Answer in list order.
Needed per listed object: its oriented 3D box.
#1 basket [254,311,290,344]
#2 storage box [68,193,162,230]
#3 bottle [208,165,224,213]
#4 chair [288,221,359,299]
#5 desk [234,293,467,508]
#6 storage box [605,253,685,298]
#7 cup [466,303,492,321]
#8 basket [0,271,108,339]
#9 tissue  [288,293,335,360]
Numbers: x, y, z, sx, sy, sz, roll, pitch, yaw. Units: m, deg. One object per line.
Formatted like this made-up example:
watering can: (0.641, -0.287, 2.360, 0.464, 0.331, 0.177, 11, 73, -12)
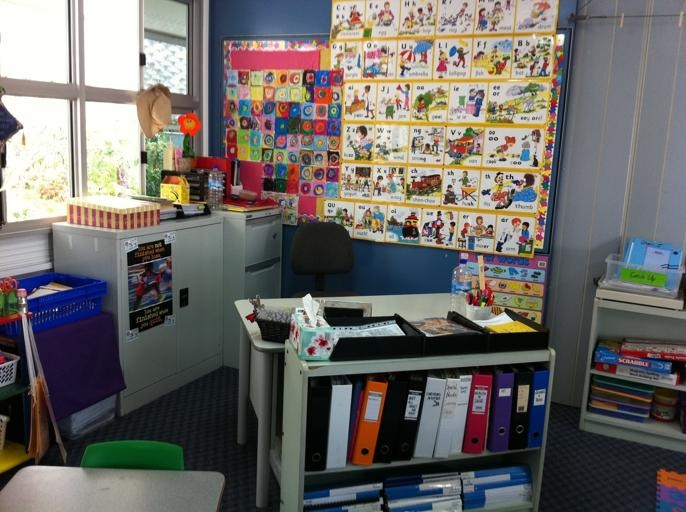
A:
basket: (-0.373, 0.377, 2.867, 0.180, 0.146, 0.168, -1, 14, -8)
storage box: (-1.637, -0.308, 3.734, 0.586, 0.177, 0.338, 5, 15, 14)
bottle: (-1.049, -0.549, 4.377, 0.060, 0.279, 0.186, 6, 7, 29)
chair: (-0.161, 0.013, 4.486, 0.505, 0.636, 0.553, -1, 2, -4)
desk: (-0.241, 0.754, 3.439, 1.398, 0.803, 1.126, -1, 12, -5)
storage box: (2.044, 0.159, 3.665, 0.327, 0.153, 0.341, 7, 11, 24)
cup: (0.756, 0.304, 2.970, 0.092, 0.060, 0.093, 0, 7, 0)
basket: (-1.819, 0.294, 3.417, 0.342, 0.165, 0.472, 11, 17, 38)
tissue : (-0.184, 0.223, 2.654, 0.222, 0.448, 0.445, -1, 7, -10)
